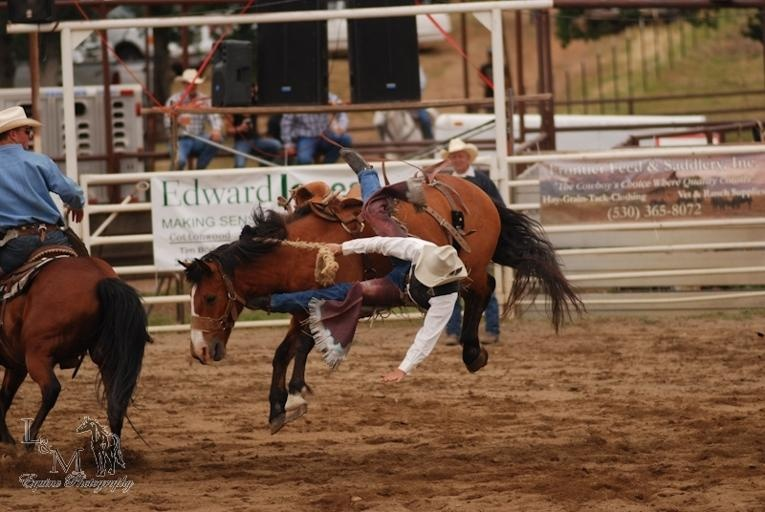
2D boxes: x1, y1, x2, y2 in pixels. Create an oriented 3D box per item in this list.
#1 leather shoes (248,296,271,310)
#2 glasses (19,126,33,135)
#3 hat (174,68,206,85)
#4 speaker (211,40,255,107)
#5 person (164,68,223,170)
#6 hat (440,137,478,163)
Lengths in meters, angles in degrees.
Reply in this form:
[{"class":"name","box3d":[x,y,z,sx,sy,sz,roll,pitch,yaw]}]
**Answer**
[{"class":"leather shoes","box3d":[-1.326,0.517,16.138,0.202,0.078,0.145,-18,33,21]},{"class":"glasses","box3d":[-3.834,-1.325,16.134,0.131,0.126,0.042,2,-2,17]},{"class":"hat","box3d":[-2.677,-2.440,20.827,0.405,0.180,0.452,-1,-4,-2]},{"class":"speaker","box3d":[-2.000,-2.383,19.869,0.557,0.894,0.508,-3,4,-7]},{"class":"person","box3d":[-2.710,-1.820,21.542,0.958,1.598,0.930,2,4,20]},{"class":"hat","box3d":[0.929,-1.272,18.584,0.400,0.304,0.736,-2,4,2]}]
